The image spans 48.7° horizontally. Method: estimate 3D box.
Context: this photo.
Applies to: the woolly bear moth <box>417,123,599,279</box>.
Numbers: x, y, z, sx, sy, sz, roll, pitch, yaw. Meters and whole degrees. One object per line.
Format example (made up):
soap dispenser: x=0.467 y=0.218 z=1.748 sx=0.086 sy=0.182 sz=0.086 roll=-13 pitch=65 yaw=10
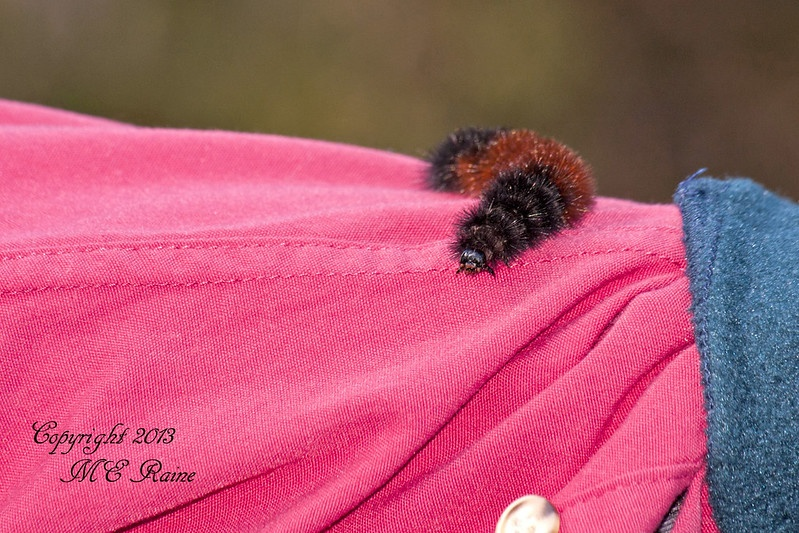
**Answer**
woolly bear moth: x=0.130 y=-0.092 z=1.163 sx=0.184 sy=0.204 sz=0.119 roll=20 pitch=-47 yaw=30
